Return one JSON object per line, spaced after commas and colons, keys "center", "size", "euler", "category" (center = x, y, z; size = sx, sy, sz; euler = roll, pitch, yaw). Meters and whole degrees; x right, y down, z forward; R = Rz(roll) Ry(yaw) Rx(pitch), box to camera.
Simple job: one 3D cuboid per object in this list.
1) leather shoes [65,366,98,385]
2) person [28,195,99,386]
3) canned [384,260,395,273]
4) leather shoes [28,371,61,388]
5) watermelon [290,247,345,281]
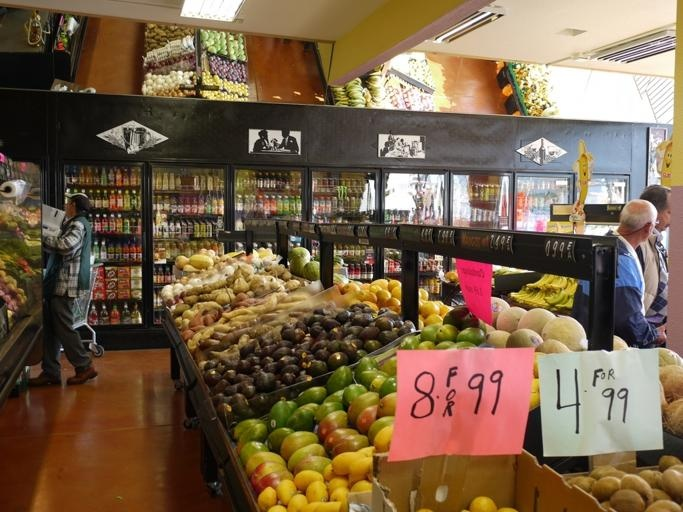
{"center": [-2.811, 1.291, 5.132], "size": [0.122, 0.144, 0.313], "euler": [-5, -5, 42], "category": "leather shoes"}
{"center": [-2.989, 0.327, 5.149], "size": [0.573, 1.894, 0.684], "euler": [-2, 11, -29], "category": "person"}
{"center": [0.762, 0.157, 7.636], "size": [0.168, 0.280, 0.156], "euler": [3, 18, -2], "category": "canned"}
{"center": [-3.130, 1.328, 5.081], "size": [0.360, 0.149, 0.126], "euler": [6, -4, -21], "category": "leather shoes"}
{"center": [-0.202, 0.062, 3.783], "size": [0.403, 0.217, 0.800], "euler": [1, 5, -10], "category": "watermelon"}
